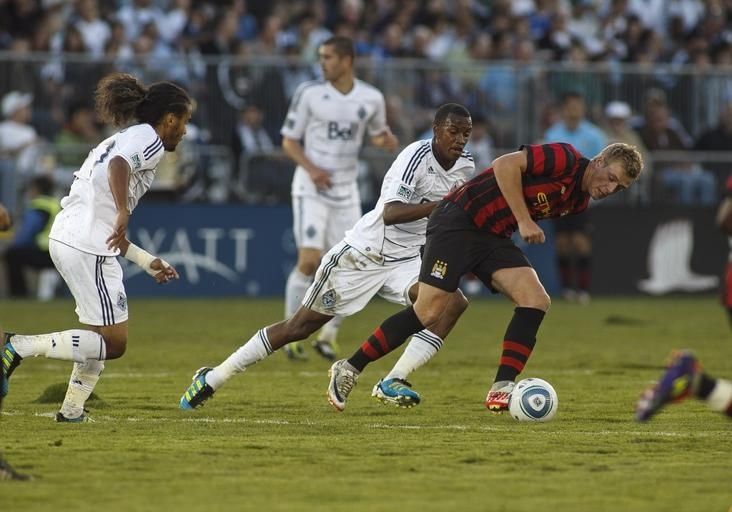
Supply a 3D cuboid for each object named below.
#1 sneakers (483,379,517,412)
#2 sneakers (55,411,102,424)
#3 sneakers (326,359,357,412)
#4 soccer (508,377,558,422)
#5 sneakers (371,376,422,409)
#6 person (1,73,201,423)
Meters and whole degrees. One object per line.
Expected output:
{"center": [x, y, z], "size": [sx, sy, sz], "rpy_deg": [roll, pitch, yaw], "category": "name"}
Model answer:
{"center": [1.140, 1.182, 10.349], "size": [0.206, 0.237, 0.492], "rpy_deg": [0, -11, 9], "category": "sneakers"}
{"center": [-2.388, 1.333, 10.099], "size": [0.210, 0.092, 0.141], "rpy_deg": [7, -5, -6], "category": "sneakers"}
{"center": [-0.196, 1.111, 10.447], "size": [0.259, 0.173, 0.512], "rpy_deg": [-15, 50, 12], "category": "sneakers"}
{"center": [1.423, 1.185, 10.305], "size": [0.356, 0.372, 0.353], "rpy_deg": [-1, 13, 22], "category": "soccer"}
{"center": [0.274, 1.122, 10.388], "size": [0.448, 0.186, 0.216], "rpy_deg": [14, 57, 26], "category": "sneakers"}
{"center": [-2.146, -0.060, 10.054], "size": [1.443, 2.818, 0.683], "rpy_deg": [-1, 8, -9], "category": "person"}
